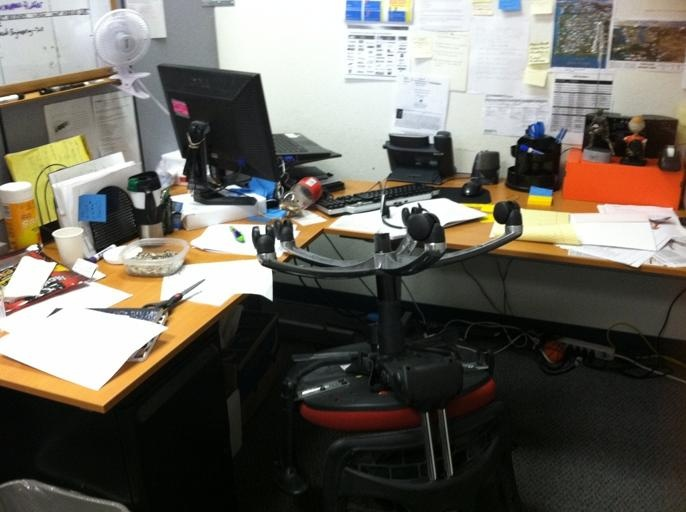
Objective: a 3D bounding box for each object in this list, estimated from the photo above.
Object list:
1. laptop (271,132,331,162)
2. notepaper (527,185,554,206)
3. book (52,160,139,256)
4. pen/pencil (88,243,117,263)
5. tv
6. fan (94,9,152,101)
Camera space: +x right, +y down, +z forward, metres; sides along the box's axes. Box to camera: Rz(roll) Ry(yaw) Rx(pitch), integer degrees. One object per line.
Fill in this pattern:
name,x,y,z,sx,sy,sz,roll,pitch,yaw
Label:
laptop,-0.195,-0.521,2.501,0.231,0.050,0.230,0,26,-7
notepaper,0.870,-0.260,2.247,0.102,0.023,0.090,7,62,22
book,-0.899,-0.167,1.863,0.112,0.269,0.297,12,32,35
pen/pencil,-0.877,-0.010,1.861,0.031,0.017,0.126,33,35,9
tv,-0.545,-0.491,2.167,0.705,0.516,0.268,19,35,28
fan,-0.931,-0.843,2.198,0.213,0.373,0.270,-11,27,-19
